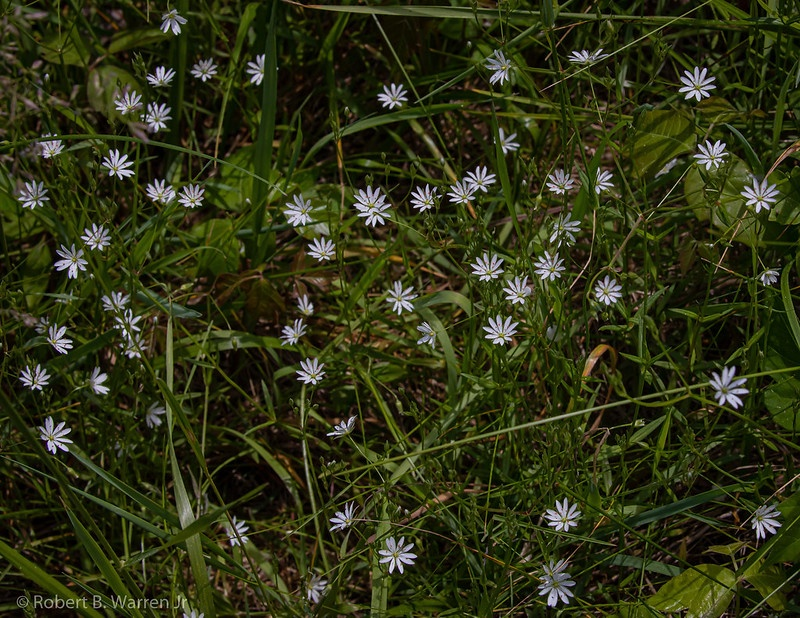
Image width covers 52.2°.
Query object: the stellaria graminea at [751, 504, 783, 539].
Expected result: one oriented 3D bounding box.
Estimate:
[{"bbox_3d":[1.337,0.813,2.985,0.104,0.034,0.144,7,68,15],"label":"stellaria graminea"}]
